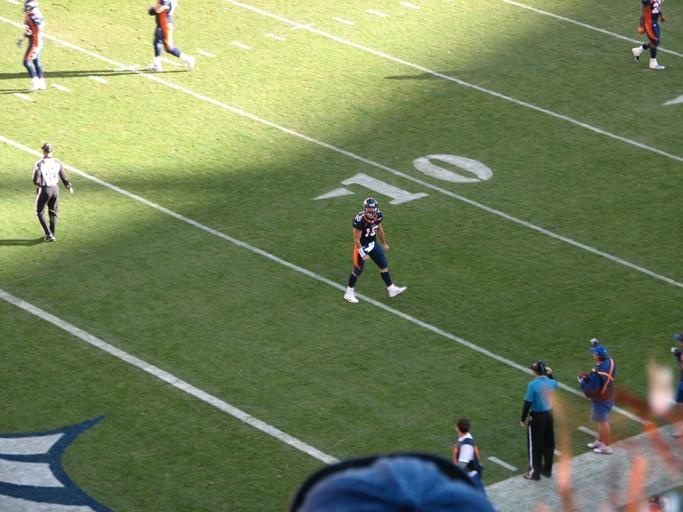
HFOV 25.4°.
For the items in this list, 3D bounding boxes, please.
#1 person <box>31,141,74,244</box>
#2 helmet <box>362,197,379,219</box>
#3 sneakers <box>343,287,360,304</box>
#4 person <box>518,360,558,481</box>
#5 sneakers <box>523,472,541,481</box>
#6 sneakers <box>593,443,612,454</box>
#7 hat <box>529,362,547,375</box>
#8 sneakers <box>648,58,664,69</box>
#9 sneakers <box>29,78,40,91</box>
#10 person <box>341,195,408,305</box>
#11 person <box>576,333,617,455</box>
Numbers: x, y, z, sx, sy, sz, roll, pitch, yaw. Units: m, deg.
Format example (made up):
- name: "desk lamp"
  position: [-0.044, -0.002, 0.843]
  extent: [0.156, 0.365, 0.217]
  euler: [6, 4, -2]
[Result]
- name: "person"
  position: [-5.179, -1.130, 26.891]
  extent: [0.535, 1.751, 0.663]
  euler: [8, 22, 11]
- name: "helmet"
  position: [0.485, -0.871, 25.950]
  extent: [0.371, 0.324, 0.363]
  euler: [-2, 44, -4]
- name: "sneakers"
  position: [0.184, 0.681, 26.201]
  extent: [0.382, 0.200, 0.182]
  euler: [11, 21, 41]
- name: "person"
  position: [3.000, 2.447, 22.887]
  extent: [0.563, 1.739, 0.801]
  euler: [7, 22, 7]
- name: "sneakers"
  position: [2.872, 3.290, 22.908]
  extent: [0.269, 0.095, 0.102]
  euler: [12, 33, 27]
- name: "sneakers"
  position: [3.985, 2.950, 23.345]
  extent: [0.368, 0.109, 0.113]
  euler: [2, 13, 1]
- name: "hat"
  position: [2.982, 1.672, 22.842]
  extent: [0.241, 0.203, 0.166]
  euler: [5, 20, 5]
- name: "sneakers"
  position: [7.100, -4.306, 34.275]
  extent: [0.457, 0.211, 0.170]
  euler: [-7, 18, -24]
- name: "sneakers"
  position: [-6.336, -3.573, 31.572]
  extent: [0.342, 0.226, 0.301]
  euler: [-5, 3, -11]
- name: "person"
  position: [0.530, -0.115, 26.159]
  extent: [1.040, 1.838, 0.624]
  euler: [-12, 27, -34]
- name: "person"
  position: [3.965, 2.133, 23.274]
  extent: [0.479, 1.762, 0.677]
  euler: [-6, 24, -24]
